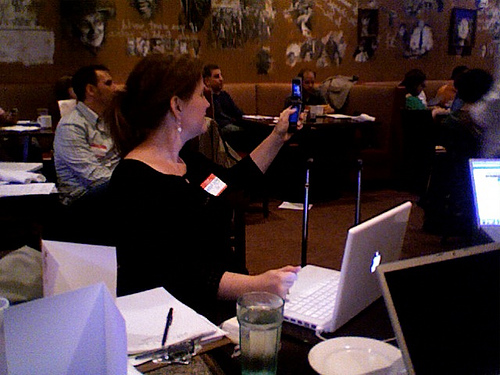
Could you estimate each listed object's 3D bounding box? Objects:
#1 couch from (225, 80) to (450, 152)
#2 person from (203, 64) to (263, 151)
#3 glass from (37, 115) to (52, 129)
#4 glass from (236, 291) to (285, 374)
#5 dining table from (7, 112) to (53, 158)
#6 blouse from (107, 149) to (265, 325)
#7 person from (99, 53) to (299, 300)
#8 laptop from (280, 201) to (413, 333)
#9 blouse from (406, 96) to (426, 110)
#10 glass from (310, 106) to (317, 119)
[{"bbox_3d":[1.177,-1.302,6.454,2.607,1.058,1.196,9,-11,46],"label":"couch"},{"bbox_3d":[-0.237,-1.073,5.934,0.671,1.189,0.530,-1,19,38],"label":"person"},{"bbox_3d":[-1.961,-0.649,4.281,0.108,0.122,0.235,-3,10,-22],"label":"glass"},{"bbox_3d":[0.027,0.336,0.988,0.105,0.159,0.146,1,9,3],"label":"glass"},{"bbox_3d":[-2.294,-0.585,4.680,0.363,0.469,1.921,-4,10,-26],"label":"dining table"},{"bbox_3d":[-0.227,0.103,1.495,0.453,0.570,0.410,0,15,-16],"label":"blouse"},{"bbox_3d":[-0.189,-0.012,1.495,0.592,0.893,0.734,-3,9,-19],"label":"person"},{"bbox_3d":[0.243,0.202,1.317,0.315,0.288,0.440,11,11,36],"label":"laptop"},{"bbox_3d":[2.048,-1.069,5.399,0.210,0.155,0.274,3,10,19],"label":"blouse"},{"bbox_3d":[0.773,-0.909,5.185,0.080,0.141,0.243,1,9,8],"label":"glass"}]
